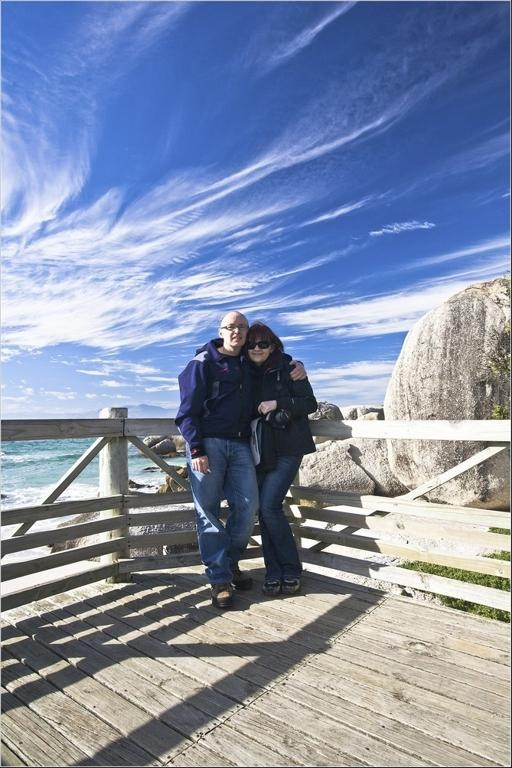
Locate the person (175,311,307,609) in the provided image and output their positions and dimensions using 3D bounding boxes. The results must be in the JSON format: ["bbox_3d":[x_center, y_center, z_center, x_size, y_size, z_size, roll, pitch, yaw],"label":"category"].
[{"bbox_3d":[-0.251,0.485,3.405,0.612,1.994,0.517,-1,-1,-24],"label":"person"}]

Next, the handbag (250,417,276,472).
[{"bbox_3d":[0.057,0.456,3.526,0.174,0.423,0.314,1,-15,-7],"label":"handbag"}]
